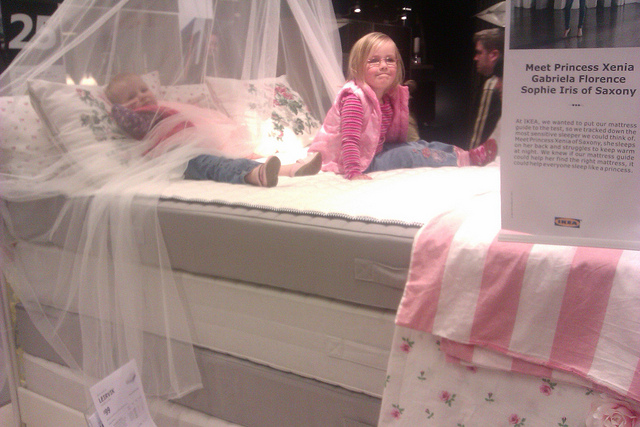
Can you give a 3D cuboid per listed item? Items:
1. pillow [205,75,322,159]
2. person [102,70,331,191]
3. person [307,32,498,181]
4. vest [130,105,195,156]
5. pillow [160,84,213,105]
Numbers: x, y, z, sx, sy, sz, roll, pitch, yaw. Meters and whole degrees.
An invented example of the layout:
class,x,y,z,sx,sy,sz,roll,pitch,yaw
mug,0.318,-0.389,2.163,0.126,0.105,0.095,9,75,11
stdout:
class,x,y,z,sx,sy,sz,roll,pitch,yaw
pillow,-0.227,-0.396,2.115,0.120,0.436,0.419,0,23,45
person,-0.411,-0.268,1.927,0.807,0.339,0.430,17,30,10
person,0.334,-0.441,2.020,0.801,0.633,0.544,3,15,22
vest,-0.652,-0.343,1.974,0.206,0.162,0.077,-22,-8,-25
pillow,-0.544,-0.488,1.953,0.125,0.088,0.032,-2,-7,-19
